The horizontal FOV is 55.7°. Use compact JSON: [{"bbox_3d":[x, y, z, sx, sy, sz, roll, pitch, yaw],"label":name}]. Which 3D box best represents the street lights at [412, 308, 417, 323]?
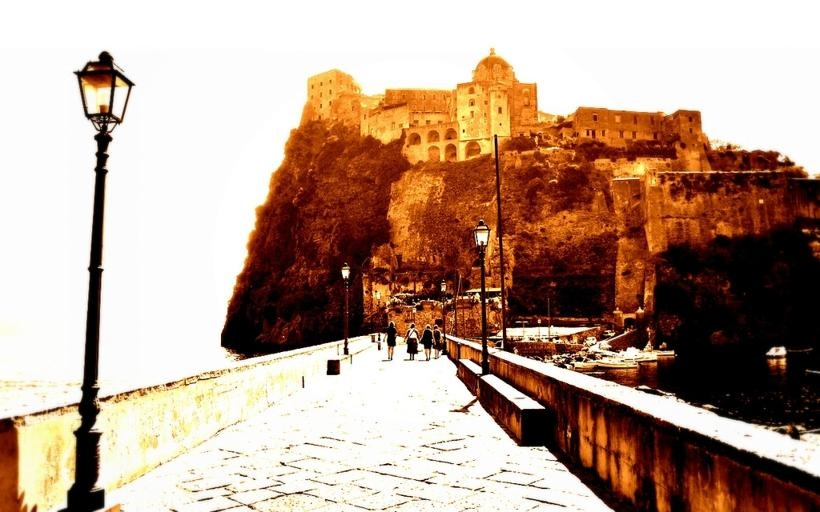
[{"bbox_3d":[0.473,5.338,72.886,0.200,1.052,0.597,0,-2,-22],"label":"street lights"}]
